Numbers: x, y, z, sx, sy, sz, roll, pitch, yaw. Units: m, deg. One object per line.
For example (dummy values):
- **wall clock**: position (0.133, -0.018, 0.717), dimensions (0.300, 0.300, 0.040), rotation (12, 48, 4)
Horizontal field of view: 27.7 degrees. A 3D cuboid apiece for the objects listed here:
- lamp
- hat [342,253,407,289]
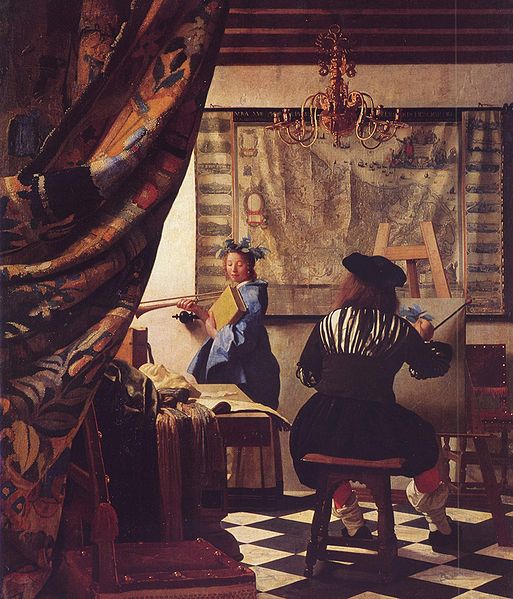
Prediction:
- **lamp**: position (0.234, -0.615, 3.007), dimensions (0.328, 0.353, 0.355), rotation (-3, 7, 6)
- **hat**: position (0.344, -0.076, 3.056), dimensions (0.139, 0.059, 0.104), rotation (8, 7, -29)
